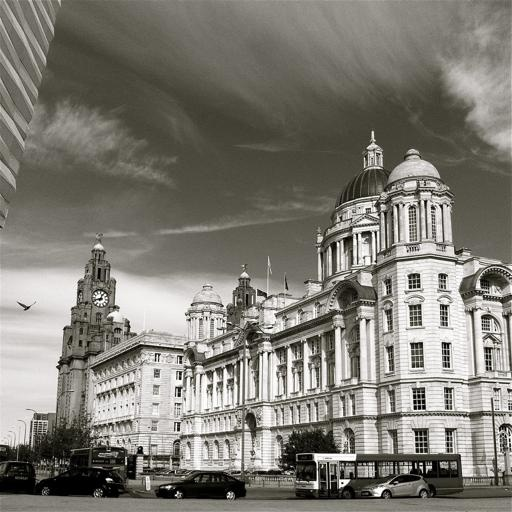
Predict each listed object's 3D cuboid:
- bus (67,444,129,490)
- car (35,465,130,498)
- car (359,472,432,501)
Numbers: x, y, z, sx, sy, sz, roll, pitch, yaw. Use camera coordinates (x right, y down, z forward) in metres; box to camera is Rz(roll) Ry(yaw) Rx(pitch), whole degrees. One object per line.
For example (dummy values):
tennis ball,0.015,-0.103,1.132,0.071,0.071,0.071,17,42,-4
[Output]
bus,-12.326,16.096,67.909,5.888,2.662,1.812,-9,-11,23
car,-9.906,12.691,48.749,4.582,1.670,1.281,-6,-18,16
car,8.165,13.223,50.025,3.791,1.480,1.363,11,-21,-33
